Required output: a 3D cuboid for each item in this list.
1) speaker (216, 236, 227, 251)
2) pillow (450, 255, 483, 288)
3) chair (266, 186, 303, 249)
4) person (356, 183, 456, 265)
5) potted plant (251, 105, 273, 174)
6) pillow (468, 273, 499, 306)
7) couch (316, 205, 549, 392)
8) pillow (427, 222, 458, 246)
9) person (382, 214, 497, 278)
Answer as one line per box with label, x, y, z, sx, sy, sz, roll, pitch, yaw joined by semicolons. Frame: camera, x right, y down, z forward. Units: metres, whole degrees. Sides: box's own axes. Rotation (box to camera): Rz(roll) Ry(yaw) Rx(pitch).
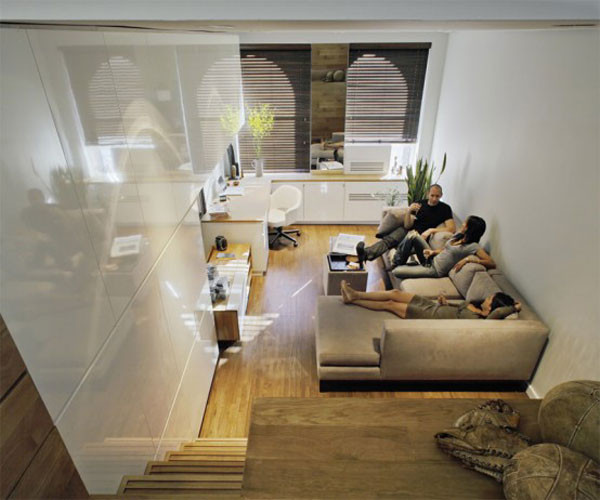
speaker;-0.916;-0.090;5.073;0.120;0.165;0.163;-3;29;-1
pillow;1.612;0.230;4.235;0.135;0.272;0.296;26;43;15
chair;-0.226;-0.523;6.286;0.544;0.804;0.814;-4;21;-1
person;1.173;-0.300;4.904;1.249;0.707;0.614;-18;32;-22
potted plant;-0.579;-1.719;6.687;0.395;1.049;0.428;-5;21;-4
pillow;1.633;0.348;3.868;0.077;0.245;0.257;17;41;8
couch;1.035;0.653;3.561;1.384;0.605;2.044;4;31;10
pillow;1.567;-0.176;4.715;0.117;0.208;0.183;36;52;-7
person;1.445;-0.035;4.540;1.060;0.658;0.564;-1;17;4
